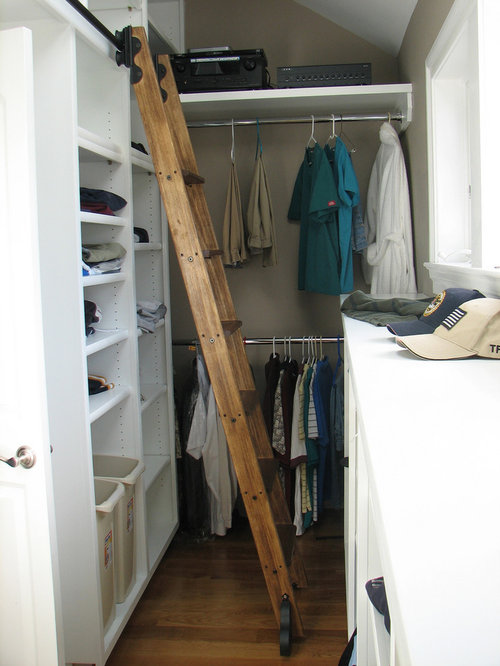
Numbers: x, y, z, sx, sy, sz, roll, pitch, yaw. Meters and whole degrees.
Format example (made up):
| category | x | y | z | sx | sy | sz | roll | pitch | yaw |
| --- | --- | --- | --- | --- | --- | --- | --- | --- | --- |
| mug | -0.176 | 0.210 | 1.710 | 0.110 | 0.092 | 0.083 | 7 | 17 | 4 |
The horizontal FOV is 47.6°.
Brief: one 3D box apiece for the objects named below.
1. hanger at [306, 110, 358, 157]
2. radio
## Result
| category | x | y | z | sx | sy | sz | roll | pitch | yaw |
| --- | --- | --- | --- | --- | --- | --- | --- | --- | --- |
| hanger | 0.410 | -0.989 | 2.791 | 0.222 | 0.186 | 0.063 | 1 | 16 | 10 |
| radio | -0.134 | -1.119 | 2.540 | 0.370 | 0.235 | 0.319 | 1 | 14 | 0 |
